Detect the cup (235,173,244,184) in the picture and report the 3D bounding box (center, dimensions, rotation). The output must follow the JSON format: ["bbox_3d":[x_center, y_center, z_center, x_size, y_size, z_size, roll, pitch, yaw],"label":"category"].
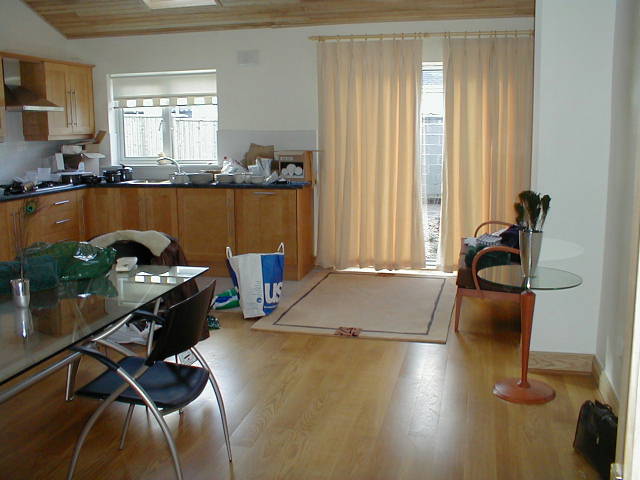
[{"bbox_3d":[-0.985,-0.759,5.868,0.107,0.214,0.150,4,1,-2],"label":"cup"}]

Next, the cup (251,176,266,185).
[{"bbox_3d":[-0.761,-0.718,5.801,0.120,0.064,0.126,-1,4,0],"label":"cup"}]

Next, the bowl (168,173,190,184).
[{"bbox_3d":[-1.777,-0.785,6.076,0.331,0.123,0.272,3,12,8],"label":"bowl"}]

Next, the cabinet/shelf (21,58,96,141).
[{"bbox_3d":[-3.515,-1.864,6.423,0.364,1.018,1.058,5,15,2],"label":"cabinet/shelf"}]

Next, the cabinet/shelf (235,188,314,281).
[{"bbox_3d":[-0.479,-0.045,6.192,1.071,1.567,0.998,0,2,12],"label":"cabinet/shelf"}]

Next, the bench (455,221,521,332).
[{"bbox_3d":[1.482,0.359,4.197,0.406,0.442,0.922,2,11,13],"label":"bench"}]

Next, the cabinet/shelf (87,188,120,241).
[{"bbox_3d":[-2.934,-0.425,6.387,0.409,0.684,0.422,-1,-4,-4],"label":"cabinet/shelf"}]

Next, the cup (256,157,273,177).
[{"bbox_3d":[-0.690,-0.911,5.956,0.197,0.222,0.182,1,11,0],"label":"cup"}]

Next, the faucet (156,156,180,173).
[{"bbox_3d":[-2.022,-1.019,6.419,0.314,0.218,0.719,-3,13,-17],"label":"faucet"}]

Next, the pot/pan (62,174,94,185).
[{"bbox_3d":[-3.177,-0.808,6.245,0.381,0.129,0.229,-6,14,-30],"label":"pot/pan"}]

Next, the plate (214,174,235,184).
[{"bbox_3d":[-1.193,-0.754,5.941,0.172,0.092,0.180,1,3,22],"label":"plate"}]

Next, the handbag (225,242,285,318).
[{"bbox_3d":[-0.531,0.372,4.708,0.593,0.781,0.605,-3,6,4],"label":"handbag"}]

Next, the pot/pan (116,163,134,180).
[{"bbox_3d":[-2.611,-0.913,6.514,0.255,0.282,0.158,1,9,6],"label":"pot/pan"}]

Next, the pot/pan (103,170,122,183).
[{"bbox_3d":[-2.754,-0.832,6.303,0.152,0.151,0.205,0,-1,0],"label":"pot/pan"}]

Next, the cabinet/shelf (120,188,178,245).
[{"bbox_3d":[-1.961,-0.303,5.564,0.617,0.629,0.250,2,5,17],"label":"cabinet/shelf"}]

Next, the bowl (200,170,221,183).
[{"bbox_3d":[-1.408,-0.852,6.237,0.223,0.164,0.256,0,8,0],"label":"bowl"}]

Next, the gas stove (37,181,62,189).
[{"bbox_3d":[-3.390,-0.711,5.970,0.281,0.063,0.486,-5,14,-29],"label":"gas stove"}]

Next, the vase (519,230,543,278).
[{"bbox_3d":[1.349,0.079,3.087,0.127,0.303,0.131,6,12,24],"label":"vase"}]
